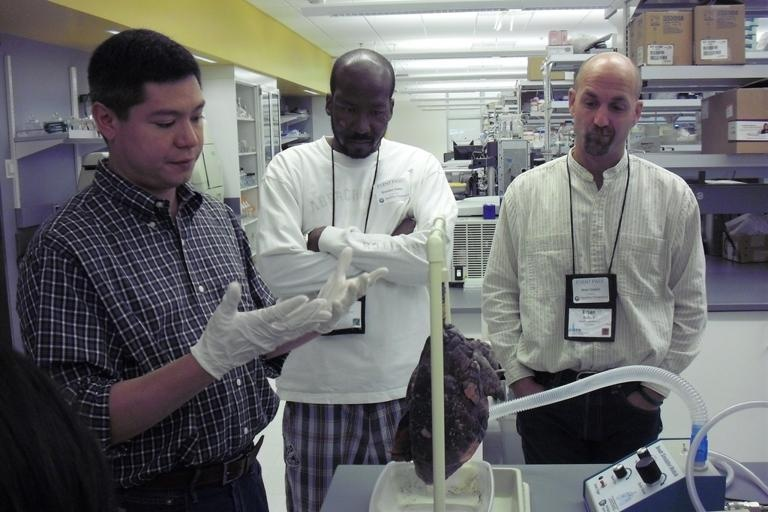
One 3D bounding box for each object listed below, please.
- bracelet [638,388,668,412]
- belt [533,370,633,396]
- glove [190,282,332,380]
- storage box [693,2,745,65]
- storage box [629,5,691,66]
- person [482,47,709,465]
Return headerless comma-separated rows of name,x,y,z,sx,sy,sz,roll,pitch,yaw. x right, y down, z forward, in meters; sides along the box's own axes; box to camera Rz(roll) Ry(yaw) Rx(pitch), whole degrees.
bracelet,1.055,0.566,2.377,0.094,0.041,0.079,20,24,-41
belt,0.707,0.445,2.116,0.180,0.051,0.189,1,-4,-9
glove,-0.384,0.233,1.870,0.323,0.215,0.104,-30,24,-5
storage box,2.080,-1.396,3.930,0.331,0.367,0.345,0,3,4
storage box,1.741,-1.351,3.911,0.365,0.384,0.382,0,2,3
person,0.874,0.022,2.462,0.870,1.640,0.541,-2,12,-7
